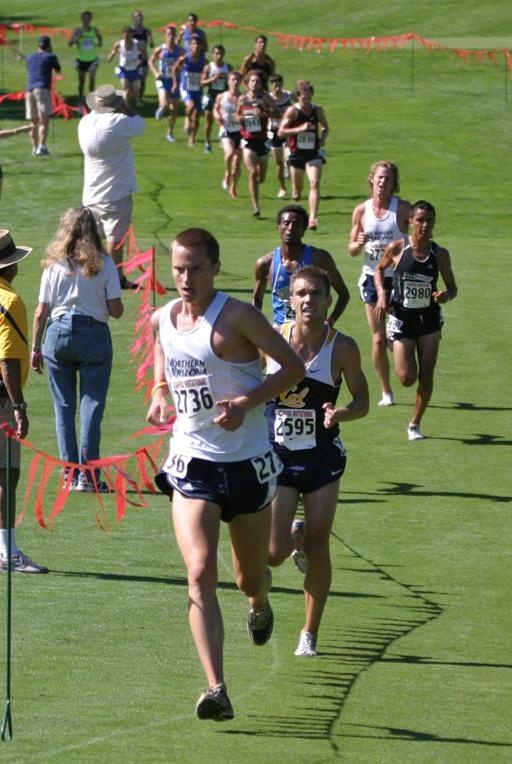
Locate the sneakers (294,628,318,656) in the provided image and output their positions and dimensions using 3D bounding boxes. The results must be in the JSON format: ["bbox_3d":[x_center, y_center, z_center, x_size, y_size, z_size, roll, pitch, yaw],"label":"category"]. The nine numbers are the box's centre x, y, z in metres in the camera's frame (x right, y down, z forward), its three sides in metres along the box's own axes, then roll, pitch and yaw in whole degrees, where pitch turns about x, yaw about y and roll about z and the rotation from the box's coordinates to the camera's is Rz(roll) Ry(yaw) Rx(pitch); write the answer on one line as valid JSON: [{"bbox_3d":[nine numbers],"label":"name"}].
[{"bbox_3d":[0.203,1.057,6.486,0.086,0.109,0.105,3,13,1],"label":"sneakers"}]

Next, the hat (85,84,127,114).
[{"bbox_3d":[-1.179,-2.173,12.456,0.268,0.204,0.423,-1,13,-17],"label":"hat"}]

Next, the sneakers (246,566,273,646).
[{"bbox_3d":[0.016,0.904,6.467,0.112,0.324,0.135,0,8,0],"label":"sneakers"}]

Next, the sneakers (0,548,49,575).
[{"bbox_3d":[-1.006,0.806,7.125,0.276,0.107,0.100,4,6,-13],"label":"sneakers"}]

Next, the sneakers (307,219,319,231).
[{"bbox_3d":[0.639,-1.786,18.284,0.129,0.080,0.205,4,-21,6],"label":"sneakers"}]

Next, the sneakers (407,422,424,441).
[{"bbox_3d":[1.014,0.314,10.128,0.108,0.111,0.162,4,13,5],"label":"sneakers"}]

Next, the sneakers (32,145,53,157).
[{"bbox_3d":[-3.096,-3.235,22.877,0.106,0.117,0.268,7,15,15],"label":"sneakers"}]

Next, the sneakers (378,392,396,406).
[{"bbox_3d":[0.898,0.117,11.023,0.102,0.097,0.236,4,13,5],"label":"sneakers"}]

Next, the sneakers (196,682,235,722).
[{"bbox_3d":[-0.142,1.070,5.300,0.120,0.144,0.119,2,13,-3],"label":"sneakers"}]
